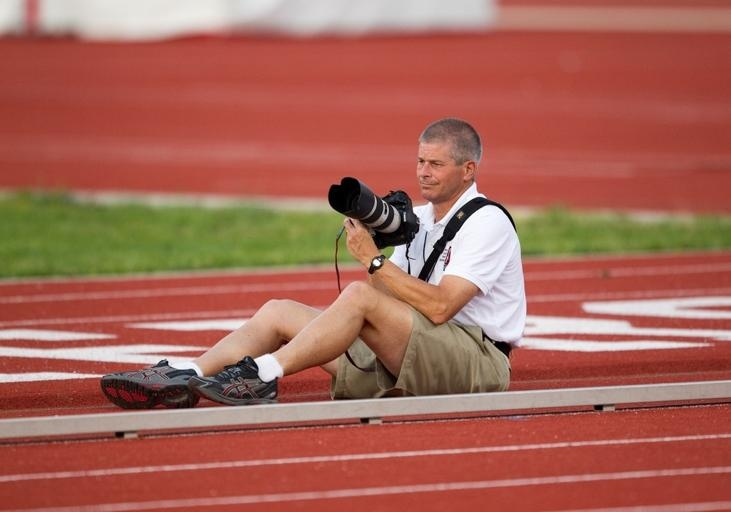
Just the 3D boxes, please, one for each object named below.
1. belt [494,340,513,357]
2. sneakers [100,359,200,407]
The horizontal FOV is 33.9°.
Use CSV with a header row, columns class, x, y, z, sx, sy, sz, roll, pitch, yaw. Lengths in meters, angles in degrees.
class,x,y,z,sx,sy,sz,roll,pitch,yaw
belt,0.893,0.609,7.918,0.111,0.103,0.108,3,2,-35
sneakers,-1.349,0.799,7.637,0.672,0.242,0.289,5,42,-1
